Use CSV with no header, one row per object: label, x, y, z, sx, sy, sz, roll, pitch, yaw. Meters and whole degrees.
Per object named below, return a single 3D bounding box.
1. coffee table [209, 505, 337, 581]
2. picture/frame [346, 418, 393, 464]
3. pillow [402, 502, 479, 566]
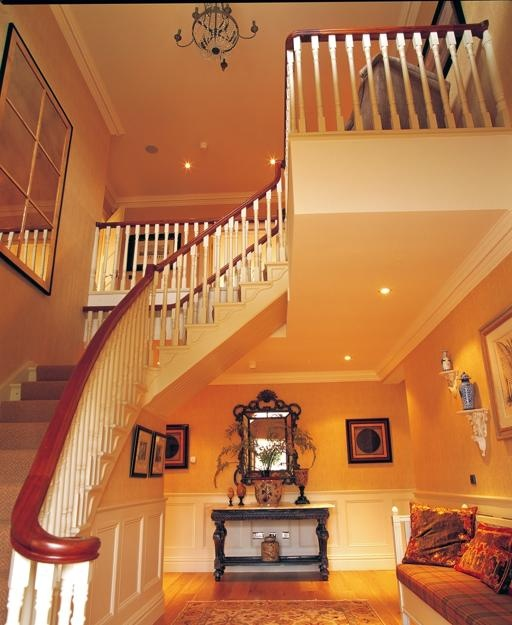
coffee table,0.187,3.147,5.990,1.579,0.893,0.801,0,-20,0
picture/frame,1.787,2.018,6.846,0.651,0.734,0.040,-7,-45,16
pillow,1.414,1.738,3.345,0.166,0.585,0.563,20,-18,-28
